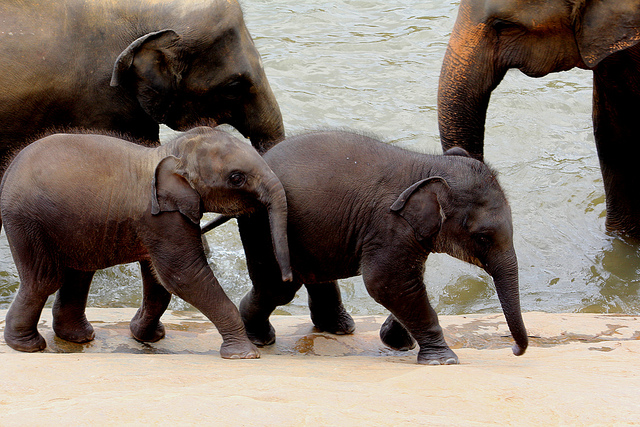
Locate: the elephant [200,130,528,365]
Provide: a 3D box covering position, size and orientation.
[{"bbox_3d":[0.227,0.200,4.804,1.908,1.056,0.763,3,9,21],"label":"elephant"}]
